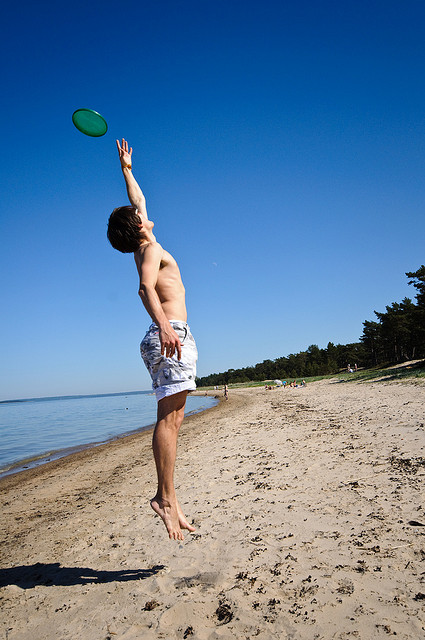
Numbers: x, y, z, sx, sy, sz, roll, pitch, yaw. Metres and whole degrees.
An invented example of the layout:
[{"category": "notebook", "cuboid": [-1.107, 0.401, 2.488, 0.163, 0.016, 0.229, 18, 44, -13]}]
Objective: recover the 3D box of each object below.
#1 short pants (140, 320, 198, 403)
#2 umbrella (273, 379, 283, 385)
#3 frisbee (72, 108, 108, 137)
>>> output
[{"category": "short pants", "cuboid": [-0.308, 0.287, 3.408, 0.357, 0.606, 0.445, -6, -1, 7]}, {"category": "umbrella", "cuboid": [7.781, 7.192, 52.850, 0.979, 0.471, 1.347, 5, -9, 9]}, {"category": "frisbee", "cuboid": [-1.207, -1.860, 4.458, 0.314, 0.235, 0.357, -2, -8, -16]}]
